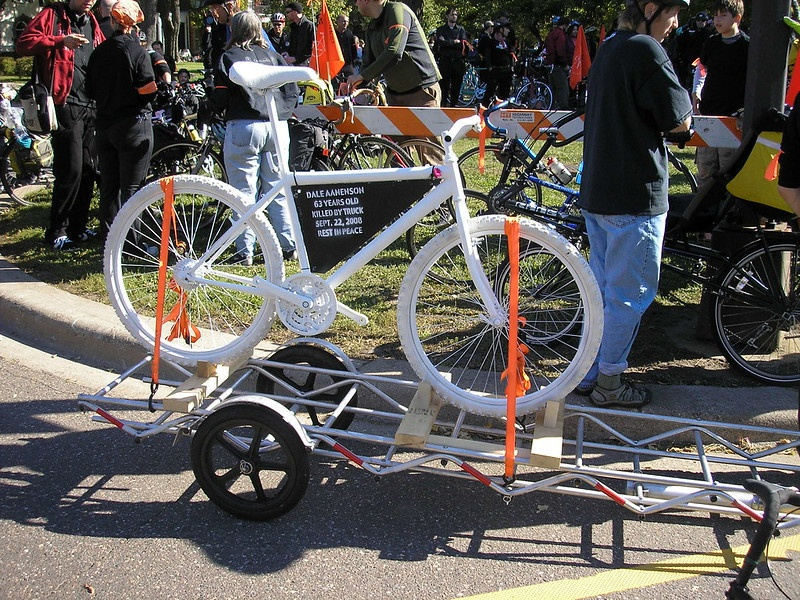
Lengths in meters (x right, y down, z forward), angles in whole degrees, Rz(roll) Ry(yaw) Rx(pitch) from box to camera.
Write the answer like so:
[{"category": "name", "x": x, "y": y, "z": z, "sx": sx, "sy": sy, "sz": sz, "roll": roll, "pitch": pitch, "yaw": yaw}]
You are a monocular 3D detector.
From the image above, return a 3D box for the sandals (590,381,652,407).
[{"category": "sandals", "x": 1.507, "y": 0.667, "z": 5.520, "sx": 0.352, "sy": 0.157, "sz": 0.178, "roll": -3, "pitch": 11, "yaw": -2}]

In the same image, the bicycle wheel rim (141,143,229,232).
[{"category": "bicycle wheel rim", "x": -2.302, "y": -1.022, "z": 8.955, "sx": 1.321, "sy": 1.355, "sz": 0.330, "roll": -7, "pitch": -2, "yaw": 38}]

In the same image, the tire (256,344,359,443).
[{"category": "tire", "x": -0.601, "y": 0.618, "z": 5.212, "sx": 0.658, "sy": 0.691, "sz": 0.110, "roll": 1, "pitch": 10, "yaw": 9}]

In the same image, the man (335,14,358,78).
[{"category": "man", "x": -1.246, "y": -5.474, "z": 17.834, "sx": 0.528, "sy": 1.757, "sz": 0.436, "roll": -6, "pitch": 53, "yaw": -2}]

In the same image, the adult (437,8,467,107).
[{"category": "adult", "x": 1.087, "y": -5.023, "z": 17.103, "sx": 0.706, "sy": 2.105, "sz": 0.583, "roll": -12, "pitch": 30, "yaw": -21}]

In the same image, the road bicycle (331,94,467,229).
[{"category": "road bicycle", "x": 0.221, "y": -1.481, "z": 8.233, "sx": 1.893, "sy": 1.268, "sz": 0.962, "roll": 12, "pitch": 14, "yaw": 21}]

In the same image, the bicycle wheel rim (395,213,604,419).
[{"category": "bicycle wheel rim", "x": 0.722, "y": 0.142, "z": 5.547, "sx": 1.173, "sy": 1.211, "sz": 0.181, "roll": 20, "pitch": 16, "yaw": 4}]

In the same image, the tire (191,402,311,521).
[{"category": "tire", "x": -0.895, "y": 0.976, "z": 4.806, "sx": 0.659, "sy": 0.692, "sz": 0.129, "roll": -2, "pitch": 3, "yaw": 7}]

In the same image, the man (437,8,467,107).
[{"category": "man", "x": 1.087, "y": -4.997, "z": 17.107, "sx": 0.724, "sy": 2.149, "sz": 0.615, "roll": -10, "pitch": 27, "yaw": -19}]

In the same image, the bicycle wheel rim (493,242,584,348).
[{"category": "bicycle wheel rim", "x": 1.088, "y": -0.049, "z": 6.359, "sx": 0.865, "sy": 0.901, "sz": 0.179, "roll": 12, "pitch": 12, "yaw": 40}]

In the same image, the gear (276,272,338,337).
[{"category": "gear", "x": -0.570, "y": 0.021, "z": 5.120, "sx": 0.378, "sy": 0.385, "sz": 0.140, "roll": 8, "pitch": 11, "yaw": 18}]

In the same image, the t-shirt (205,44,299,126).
[{"category": "t-shirt", "x": -1.336, "y": -1.989, "z": 7.461, "sx": 0.870, "sy": 0.720, "sz": 0.469, "roll": -8, "pitch": 17, "yaw": -38}]

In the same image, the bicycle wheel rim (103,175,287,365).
[{"category": "bicycle wheel rim", "x": -1.427, "y": -0.162, "z": 5.414, "sx": 1.299, "sy": 1.358, "sz": 0.204, "roll": 2, "pitch": 15, "yaw": 13}]
